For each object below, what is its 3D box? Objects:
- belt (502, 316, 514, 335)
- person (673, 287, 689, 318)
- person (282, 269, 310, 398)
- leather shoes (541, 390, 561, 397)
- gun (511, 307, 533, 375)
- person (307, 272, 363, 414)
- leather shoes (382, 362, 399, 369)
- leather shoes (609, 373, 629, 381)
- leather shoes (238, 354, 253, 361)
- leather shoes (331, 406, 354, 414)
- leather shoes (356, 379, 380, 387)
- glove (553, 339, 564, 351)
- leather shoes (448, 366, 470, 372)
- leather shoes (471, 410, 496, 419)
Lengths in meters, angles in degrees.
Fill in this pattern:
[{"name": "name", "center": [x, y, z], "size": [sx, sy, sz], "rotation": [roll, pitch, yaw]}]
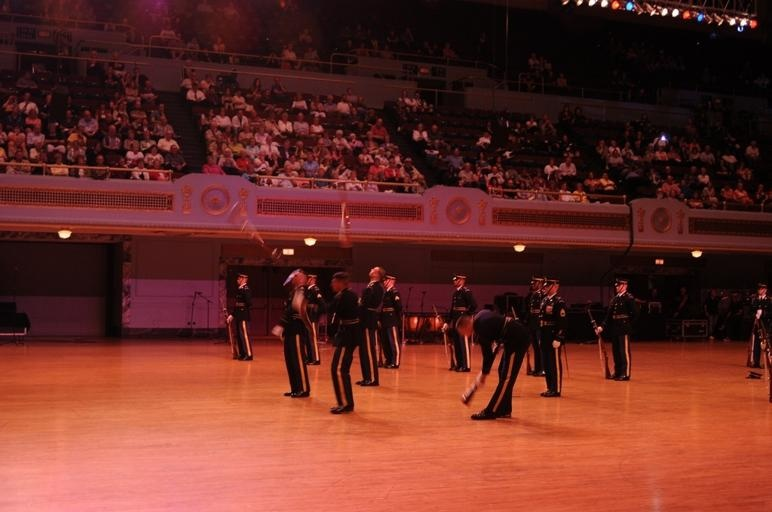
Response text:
[{"name": "belt", "center": [2.132, 1.205, 14.711], "size": [0.159, 0.261, 0.105], "rotation": [-10, -1, 37]}, {"name": "person", "center": [10.878, 1.697, 30.905], "size": [0.468, 1.044, 1.434], "rotation": [2, 3, 20]}, {"name": "person", "center": [-1.768, 1.528, 16.402], "size": [0.576, 2.450, 0.885], "rotation": [0, 4, -5]}, {"name": "leather shoes", "center": [3.298, 2.753, 16.838], "size": [0.353, 0.148, 0.153], "rotation": [4, -9, -5]}, {"name": "gun", "center": [2.768, 1.780, 17.033], "size": [0.334, 1.629, 0.131], "rotation": [-4, -22, -4]}, {"name": "person", "center": [-0.763, 1.577, 15.454], "size": [0.578, 2.471, 1.008], "rotation": [1, 4, -3]}, {"name": "leather shoes", "center": [0.107, 2.692, 20.557], "size": [0.386, 0.156, 0.142], "rotation": [-5, -11, 19]}, {"name": "leather shoes", "center": [5.277, 2.751, 19.031], "size": [0.442, 0.098, 0.268], "rotation": [2, 3, 24]}, {"name": "leather shoes", "center": [-3.617, 2.624, 21.623], "size": [0.399, 0.162, 0.151], "rotation": [-5, -6, 17]}, {"name": "leather shoes", "center": [-0.793, 2.779, 15.118], "size": [0.351, 0.141, 0.149], "rotation": [3, -9, -5]}, {"name": "leather shoes", "center": [-0.371, 2.676, 17.769], "size": [0.449, 0.191, 0.165], "rotation": [4, -7, -5]}, {"name": "glove", "center": [3.391, 1.797, 16.869], "size": [0.183, 0.049, 0.173], "rotation": [-24, 55, -31]}, {"name": "leather shoes", "center": [1.748, 2.740, 20.187], "size": [0.452, 0.194, 0.173], "rotation": [3, -17, 15]}, {"name": "leather shoes", "center": [1.707, 2.800, 14.877], "size": [0.445, 0.189, 0.166], "rotation": [4, -7, 2]}]
